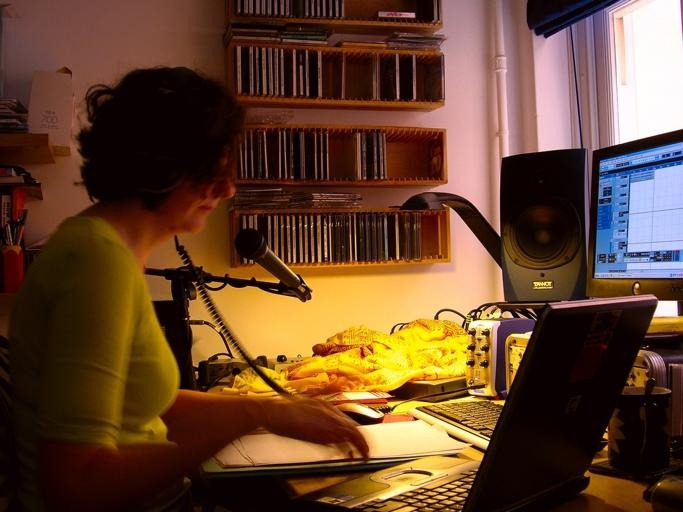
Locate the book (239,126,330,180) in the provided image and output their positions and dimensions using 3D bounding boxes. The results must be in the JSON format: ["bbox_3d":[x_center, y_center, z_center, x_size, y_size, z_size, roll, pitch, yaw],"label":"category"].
[{"bbox_3d":[-0.276,-0.490,3.011,0.439,0.272,0.083,0,4,-21],"label":"book"}]

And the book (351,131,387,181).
[{"bbox_3d":[0.137,-0.499,3.102,0.160,0.236,0.067,1,-2,4],"label":"book"}]

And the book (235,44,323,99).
[{"bbox_3d":[-0.300,-0.878,2.993,0.415,0.250,0.073,0,4,-20],"label":"book"}]

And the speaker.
[{"bbox_3d":[0.756,-0.076,2.312,0.304,0.556,0.284,-2,-13,27],"label":"speaker"}]

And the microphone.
[{"bbox_3d":[-0.210,0.028,1.947,0.095,0.091,0.287,-37,-41,20],"label":"microphone"}]

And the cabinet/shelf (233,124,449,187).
[{"bbox_3d":[0.017,-0.499,3.221,1.032,0.329,0.325,-1,-1,-8],"label":"cabinet/shelf"}]

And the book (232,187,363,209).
[{"bbox_3d":[-0.206,-0.275,3.048,0.628,0.099,0.131,1,4,-9],"label":"book"}]
